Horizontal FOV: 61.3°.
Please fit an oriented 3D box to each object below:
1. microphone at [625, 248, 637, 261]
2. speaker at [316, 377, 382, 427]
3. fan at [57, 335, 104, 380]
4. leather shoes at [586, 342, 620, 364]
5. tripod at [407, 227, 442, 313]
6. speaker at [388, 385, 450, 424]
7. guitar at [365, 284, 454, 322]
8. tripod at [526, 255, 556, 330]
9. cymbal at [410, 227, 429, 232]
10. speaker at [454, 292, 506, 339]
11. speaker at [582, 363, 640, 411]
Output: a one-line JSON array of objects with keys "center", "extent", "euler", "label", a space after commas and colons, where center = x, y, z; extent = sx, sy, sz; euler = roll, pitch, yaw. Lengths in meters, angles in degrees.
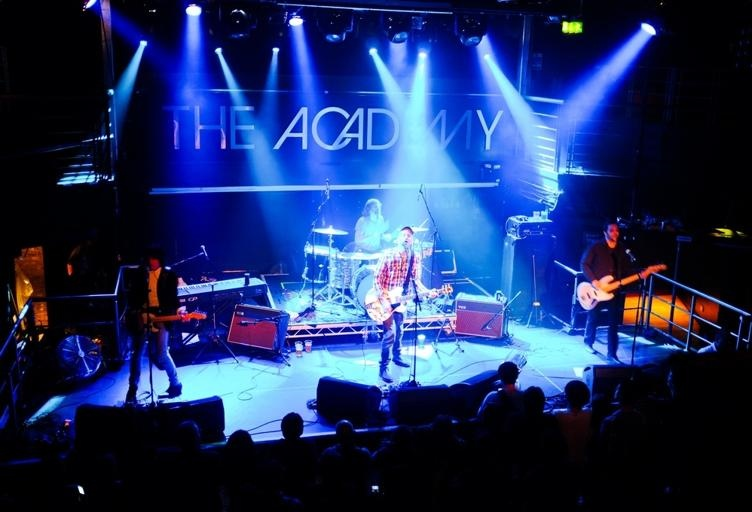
[{"center": [5.051, -0.057, 12.592], "extent": [0.106, 0.116, 0.342], "euler": [24, 14, -27], "label": "microphone"}, {"center": [-0.397, 2.309, 10.340], "extent": [1.106, 0.678, 0.808], "euler": [10, -9, 8], "label": "speaker"}, {"center": [-5.247, 1.784, 11.239], "extent": [0.188, 0.721, 0.703], "euler": [-14, -13, 43], "label": "fan"}, {"center": [4.440, 1.866, 12.446], "extent": [0.202, 0.275, 0.669], "euler": [-7, 11, -23], "label": "leather shoes"}, {"center": [0.729, 0.193, 11.565], "extent": [0.637, 1.607, 0.239], "euler": [6, 0, -15], "label": "tripod"}, {"center": [0.643, 2.199, 9.486], "extent": [0.704, 0.497, 0.564], "euler": [-3, 15, -7], "label": "speaker"}, {"center": [0.475, 0.836, 11.345], "extent": [1.331, 0.628, 0.433], "euler": [0, -7, 2], "label": "guitar"}, {"center": [3.532, 0.722, 14.034], "extent": [0.414, 1.566, 0.340], "euler": [0, -7, 4], "label": "tripod"}, {"center": [0.979, -0.607, 13.872], "extent": [0.305, 0.078, 0.218], "euler": [0, 5, -6], "label": "cymbal"}, {"center": [2.173, 1.129, 13.260], "extent": [1.264, 1.031, 0.765], "euler": [2, 2, 9], "label": "speaker"}, {"center": [3.523, 2.125, 9.691], "extent": [0.955, 0.967, 0.512], "euler": [-1, -2, -4], "label": "speaker"}]
